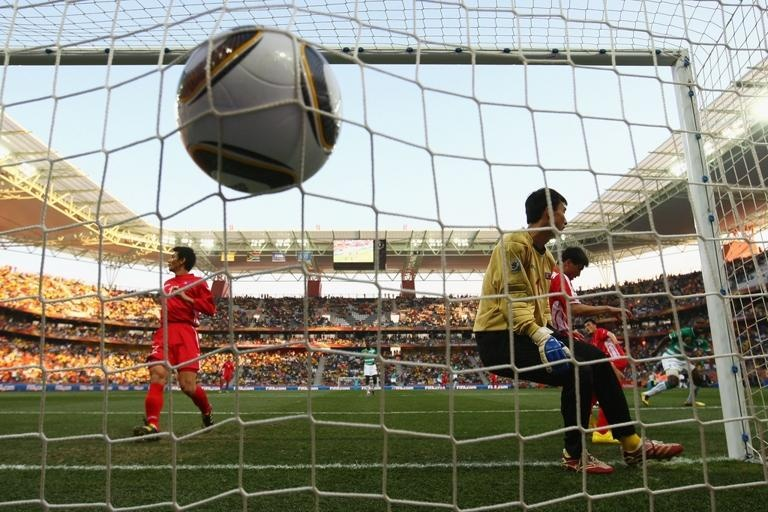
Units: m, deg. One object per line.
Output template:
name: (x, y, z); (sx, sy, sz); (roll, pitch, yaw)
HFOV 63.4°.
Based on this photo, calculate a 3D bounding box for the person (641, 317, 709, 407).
person: (4.829, 1.751, 10.182); (1.063, 1.461, 0.744); (4, 3, 4)

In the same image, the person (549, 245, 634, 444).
person: (1.904, 0.782, 6.264); (0.812, 1.709, 0.746); (11, -6, 8)

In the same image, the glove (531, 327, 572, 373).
glove: (1.382, 0.732, 5.196); (0.319, 0.419, 0.162); (6, -45, -28)
